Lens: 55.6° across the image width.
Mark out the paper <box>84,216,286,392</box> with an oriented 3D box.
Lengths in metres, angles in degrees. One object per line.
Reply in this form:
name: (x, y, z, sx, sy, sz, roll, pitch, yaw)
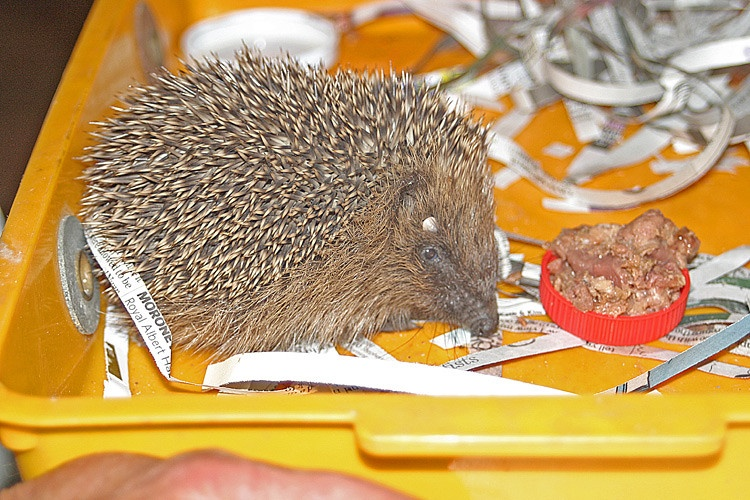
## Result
paper: (-0.611, 0.120, 1.814, 0.077, 0.286, 0.374, -27, 43, -26)
